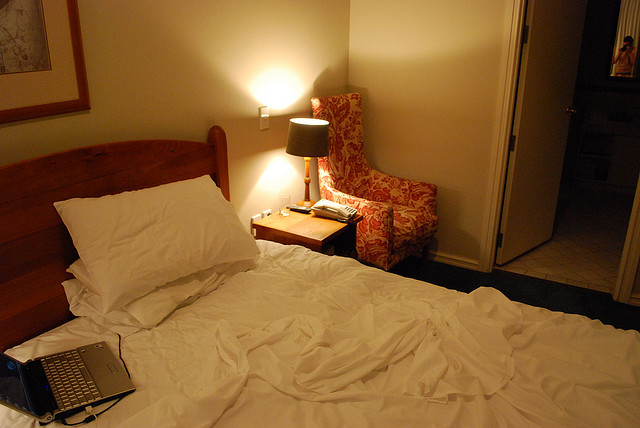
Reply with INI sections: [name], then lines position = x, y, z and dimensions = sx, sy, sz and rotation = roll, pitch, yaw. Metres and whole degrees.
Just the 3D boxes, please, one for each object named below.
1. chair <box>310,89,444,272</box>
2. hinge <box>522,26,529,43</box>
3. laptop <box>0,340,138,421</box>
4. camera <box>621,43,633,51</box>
[chair]
position = 0.509, -0.314, 3.912
dimensions = 0.936, 1.422, 1.017
rotation = -12, 20, -29
[hinge]
position = 1.631, -1.427, 3.593
dimensions = 0.040, 0.119, 0.024
rotation = 13, 28, 31
[laptop]
position = -1.099, 0.739, 1.978
dimensions = 0.335, 0.250, 0.337
rotation = -17, 40, -26
[camera]
position = 3.719, -2.026, 5.475
dimensions = 0.070, 0.101, 0.035
rotation = 8, 8, 31
